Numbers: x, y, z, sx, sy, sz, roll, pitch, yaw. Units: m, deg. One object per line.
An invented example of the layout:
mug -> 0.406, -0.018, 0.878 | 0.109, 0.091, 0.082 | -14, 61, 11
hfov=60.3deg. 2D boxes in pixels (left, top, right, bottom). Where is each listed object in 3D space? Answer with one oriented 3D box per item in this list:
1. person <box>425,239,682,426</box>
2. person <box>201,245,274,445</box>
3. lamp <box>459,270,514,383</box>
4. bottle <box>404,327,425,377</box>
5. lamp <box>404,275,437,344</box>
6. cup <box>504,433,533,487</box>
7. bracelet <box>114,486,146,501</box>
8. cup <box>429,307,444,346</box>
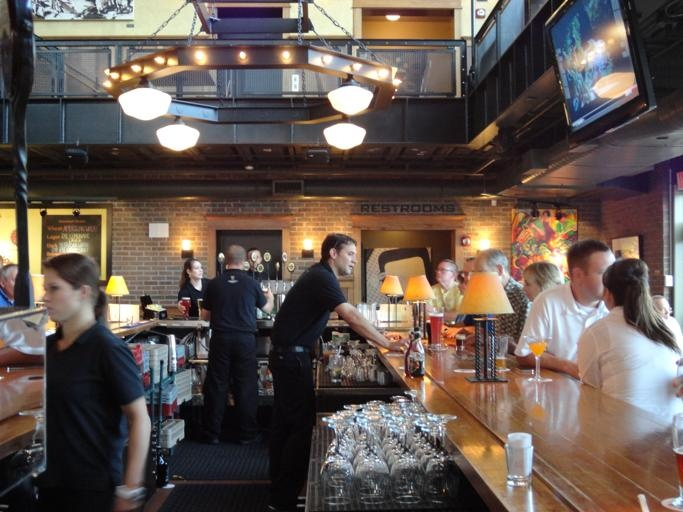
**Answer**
person -> 1.102, 0.393, 3.369 | 0.680, 1.029, 1.086 | -2, -5, -10
person -> -1.097, 0.877, 5.995 | 0.635, 1.945, 0.421 | -2, -1, -12
lamp -> 0.868, 0.427, 3.509 | 0.331, 0.633, 0.326 | 2, -5, -8
bottle -> 0.452, 0.583, 3.590 | 0.119, 0.225, 0.211 | -2, -1, 6
lamp -> 0.748, 0.487, 5.565 | 0.298, 0.584, 0.301 | -3, -2, 28
cup -> 0.643, 0.735, 2.126 | 0.139, 0.164, 0.142 | 0, -4, 0
bracelet -> -0.879, 0.986, 2.442 | 0.087, 0.048, 0.073 | 3, -4, 1
cup -> 0.702, 0.539, 4.303 | 0.108, 0.259, 0.109 | -1, 8, 0
